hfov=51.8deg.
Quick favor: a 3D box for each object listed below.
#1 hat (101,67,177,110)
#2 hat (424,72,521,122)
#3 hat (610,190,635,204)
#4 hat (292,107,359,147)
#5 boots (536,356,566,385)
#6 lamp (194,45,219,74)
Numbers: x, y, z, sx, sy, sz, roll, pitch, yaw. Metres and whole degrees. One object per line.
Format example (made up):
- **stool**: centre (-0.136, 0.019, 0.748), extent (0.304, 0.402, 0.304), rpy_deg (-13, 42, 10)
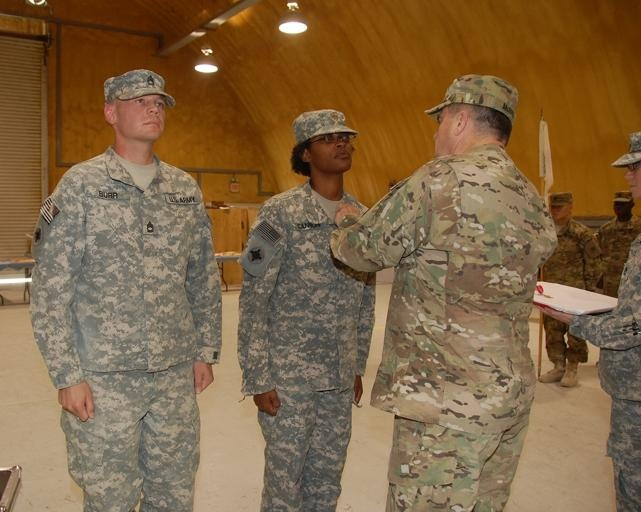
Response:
- **hat**: centre (-0.975, -0.825, 3.358), extent (0.286, 0.112, 0.221), rpy_deg (2, 6, 41)
- **hat**: centre (0.703, -0.733, 3.021), extent (0.330, 0.157, 0.238), rpy_deg (4, 5, 14)
- **hat**: centre (3.561, -0.672, 7.777), extent (0.348, 0.181, 0.512), rpy_deg (1, 3, 29)
- **hat**: centre (-0.014, -0.721, 3.654), extent (0.206, 0.108, 0.272), rpy_deg (-3, 0, -42)
- **boots**: centre (2.367, 1.191, 6.709), extent (0.328, 0.318, 0.155), rpy_deg (5, -5, -5)
- **lamp**: centre (-2.131, -3.708, 12.326), extent (0.358, 0.438, 0.508), rpy_deg (2, 3, -17)
